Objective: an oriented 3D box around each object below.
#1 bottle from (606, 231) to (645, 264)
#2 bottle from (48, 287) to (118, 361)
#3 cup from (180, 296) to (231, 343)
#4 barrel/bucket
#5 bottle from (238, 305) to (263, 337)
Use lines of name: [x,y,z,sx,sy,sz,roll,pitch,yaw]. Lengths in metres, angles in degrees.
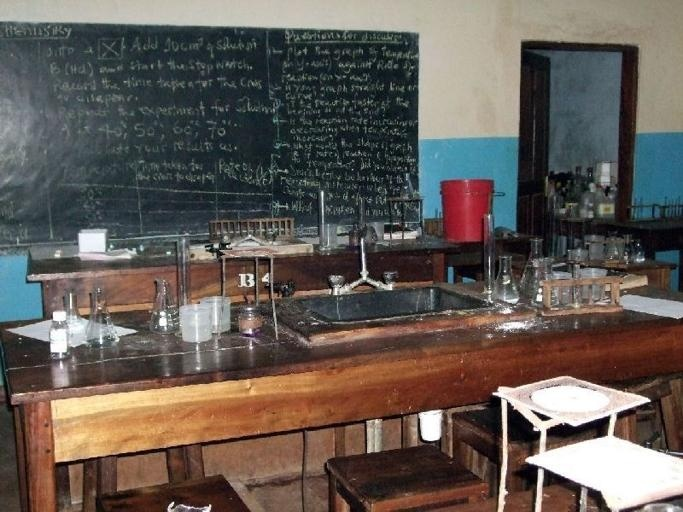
bottle: [2.024,-0.023,4.529,0.299,0.271,0.300,0,-3,-38]
bottle: [-0.991,0.258,2.346,0.213,0.201,0.107,-2,0,-36]
cup: [-0.488,0.230,2.291,0.198,0.127,0.113,-10,16,-41]
barrel/bucket: [0.876,-0.307,4.234,0.428,0.483,0.440,-1,8,0]
bottle: [-0.333,0.237,2.271,0.093,0.113,0.097,2,4,2]
